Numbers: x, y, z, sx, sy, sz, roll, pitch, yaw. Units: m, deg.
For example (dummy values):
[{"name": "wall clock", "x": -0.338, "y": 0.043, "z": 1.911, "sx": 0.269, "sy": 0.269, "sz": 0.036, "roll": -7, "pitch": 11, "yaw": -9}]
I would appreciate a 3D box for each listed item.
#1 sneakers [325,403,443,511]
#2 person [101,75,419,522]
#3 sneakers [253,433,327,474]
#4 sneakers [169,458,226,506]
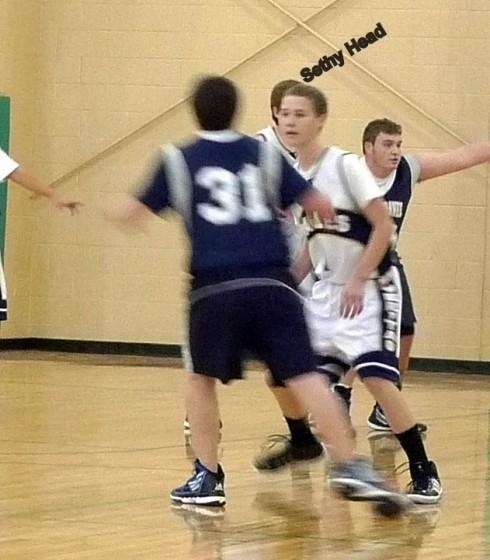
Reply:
[{"name": "sneakers", "x": 0.433, "y": 0.569, "z": 2.784, "sx": 0.109, "sy": 0.181, "sz": 0.282, "roll": -13, "pitch": 3, "yaw": -12}, {"name": "person", "x": 0.032, "y": 0.027, "z": 2.538, "sx": 0.756, "sy": 1.198, "sz": 0.238, "roll": 2, "pitch": 3, "yaw": 9}, {"name": "sneakers", "x": 0.150, "y": 0.583, "z": 3.149, "sx": 0.289, "sy": 0.111, "sz": 0.099, "roll": -14, "pitch": 9, "yaw": 18}, {"name": "sneakers", "x": -0.172, "y": 0.602, "z": 2.727, "sx": 0.235, "sy": 0.143, "sz": 0.083, "roll": -2, "pitch": -10, "yaw": 35}]
